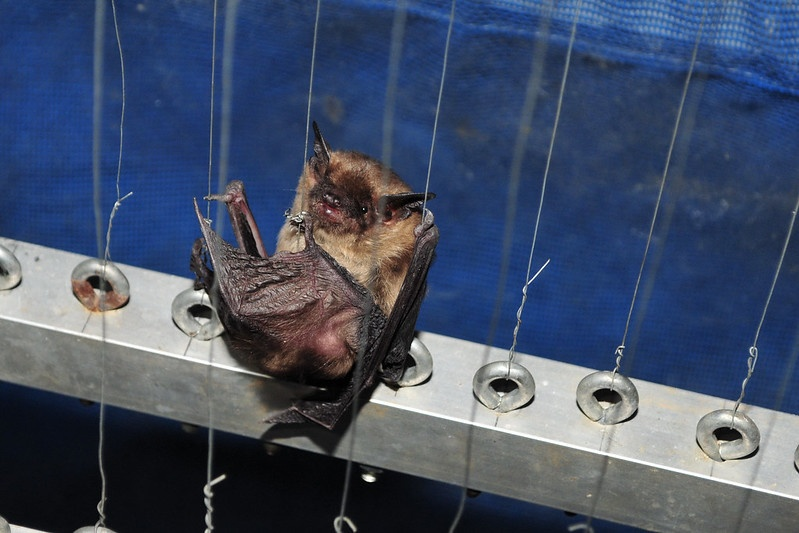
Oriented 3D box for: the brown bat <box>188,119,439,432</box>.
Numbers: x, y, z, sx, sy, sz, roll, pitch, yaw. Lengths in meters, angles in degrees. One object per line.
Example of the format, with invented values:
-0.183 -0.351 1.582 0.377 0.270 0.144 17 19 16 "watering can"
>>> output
-0.483 0.084 8.090 1.336 1.805 0.690 9 -15 1 "brown bat"
